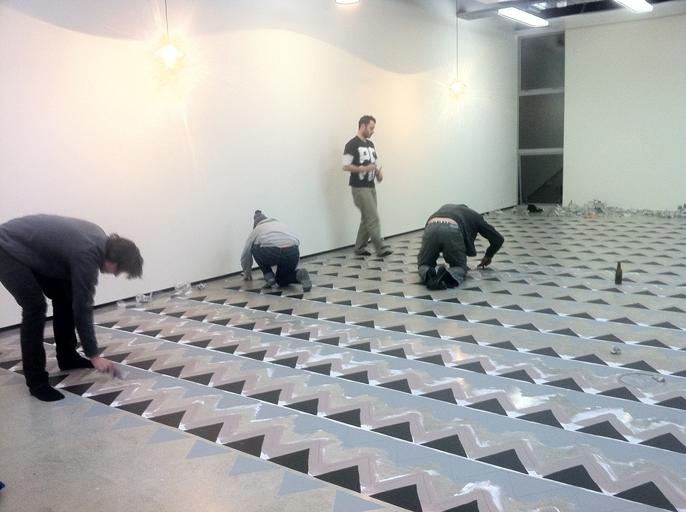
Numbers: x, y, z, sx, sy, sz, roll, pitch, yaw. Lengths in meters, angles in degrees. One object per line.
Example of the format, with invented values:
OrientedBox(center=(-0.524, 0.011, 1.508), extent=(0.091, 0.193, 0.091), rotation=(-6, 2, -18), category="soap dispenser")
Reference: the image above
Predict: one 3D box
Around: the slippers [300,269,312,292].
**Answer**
OrientedBox(center=(-0.424, 0.291, 5.158), extent=(0.105, 0.269, 0.122), rotation=(-5, -6, -35), category="slippers")

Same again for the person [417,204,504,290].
OrientedBox(center=(1.306, -0.138, 5.124), extent=(0.949, 0.886, 0.514), rotation=(-13, 17, -36), category="person")

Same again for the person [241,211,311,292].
OrientedBox(center=(-0.815, -0.062, 5.369), extent=(0.592, 0.789, 1.068), rotation=(-9, 27, -30), category="person")

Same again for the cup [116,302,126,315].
OrientedBox(center=(-2.431, 0.575, 4.824), extent=(0.122, 0.123, 0.116), rotation=(3, -2, 0), category="cup")

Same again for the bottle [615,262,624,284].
OrientedBox(center=(3.002, 0.187, 4.754), extent=(0.069, 0.230, 0.185), rotation=(6, 16, 33), category="bottle")

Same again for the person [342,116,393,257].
OrientedBox(center=(0.357, -1.052, 6.632), extent=(0.635, 2.037, 0.842), rotation=(-2, 14, 4), category="person")
